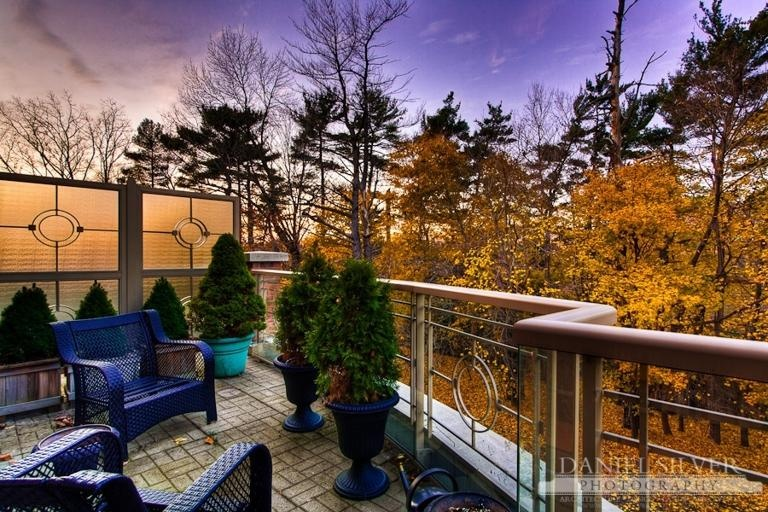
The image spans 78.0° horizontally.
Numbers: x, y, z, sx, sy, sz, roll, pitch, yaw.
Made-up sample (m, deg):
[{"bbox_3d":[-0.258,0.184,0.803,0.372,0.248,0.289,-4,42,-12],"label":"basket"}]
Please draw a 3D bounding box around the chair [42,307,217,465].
[{"bbox_3d":[-2.824,1.361,5.352,1.485,1.388,1.425,1,2,34],"label":"chair"}]

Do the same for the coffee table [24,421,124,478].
[{"bbox_3d":[-2.384,1.486,3.664,0.465,0.424,0.474,4,-6,32],"label":"coffee table"}]

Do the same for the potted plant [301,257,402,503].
[{"bbox_3d":[-0.266,0.953,4.377,0.821,1.747,0.579,-2,14,-9],"label":"potted plant"}]
